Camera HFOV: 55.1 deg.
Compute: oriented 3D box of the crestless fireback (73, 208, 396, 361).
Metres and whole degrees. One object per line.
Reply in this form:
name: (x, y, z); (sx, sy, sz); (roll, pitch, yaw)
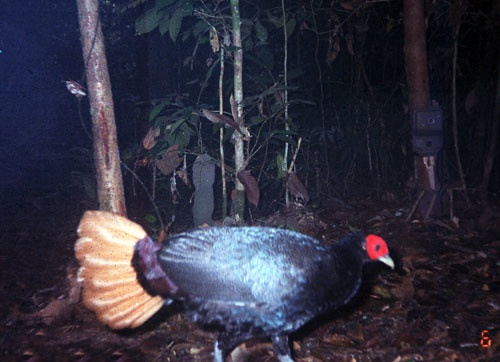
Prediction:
crestless fireback: (-0.213, 0.814, 4.436); (2.697, 1.398, 1.155); (3, 10, 3)
